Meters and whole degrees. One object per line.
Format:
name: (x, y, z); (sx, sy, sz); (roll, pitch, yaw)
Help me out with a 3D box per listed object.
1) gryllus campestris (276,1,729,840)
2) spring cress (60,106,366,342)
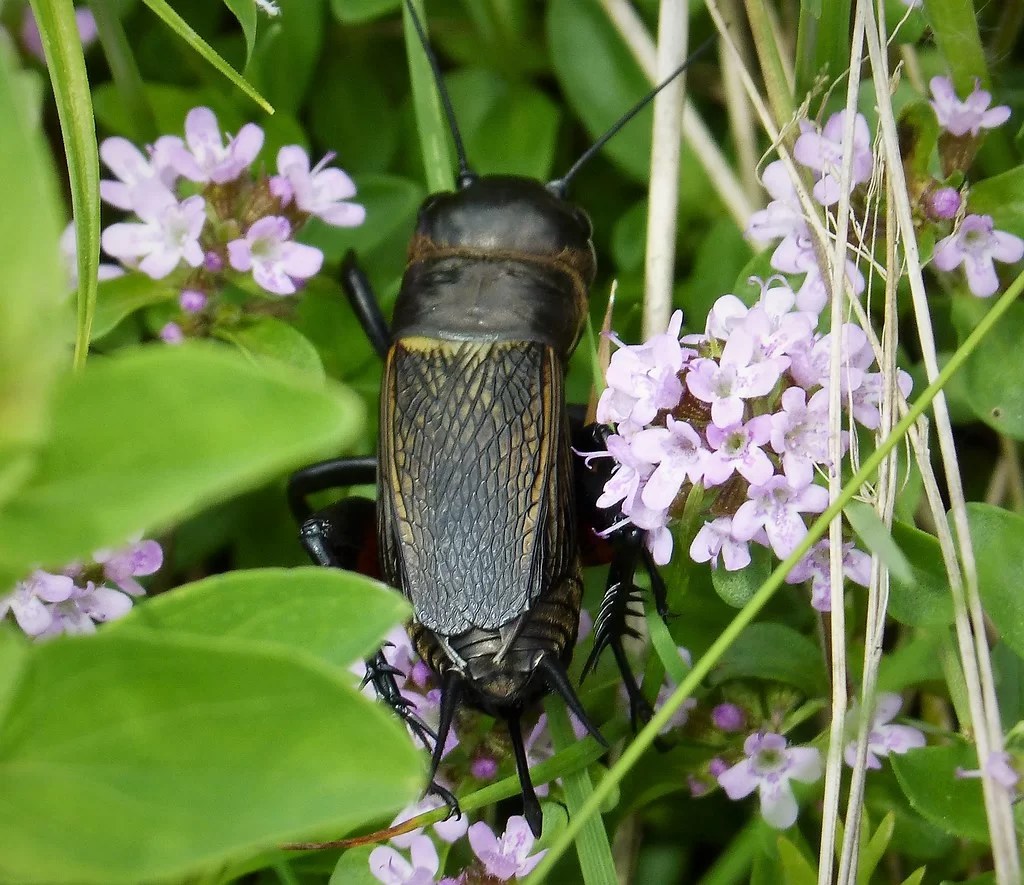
gryllus campestris: (-0.058, 0.006, 1.946); (0.512, 0.314, 1.179); (-1, 75, 6)
spring cress: (-0.457, -0.476, 2.199); (0.570, 0.518, 0.408); (23, 34, 37)
